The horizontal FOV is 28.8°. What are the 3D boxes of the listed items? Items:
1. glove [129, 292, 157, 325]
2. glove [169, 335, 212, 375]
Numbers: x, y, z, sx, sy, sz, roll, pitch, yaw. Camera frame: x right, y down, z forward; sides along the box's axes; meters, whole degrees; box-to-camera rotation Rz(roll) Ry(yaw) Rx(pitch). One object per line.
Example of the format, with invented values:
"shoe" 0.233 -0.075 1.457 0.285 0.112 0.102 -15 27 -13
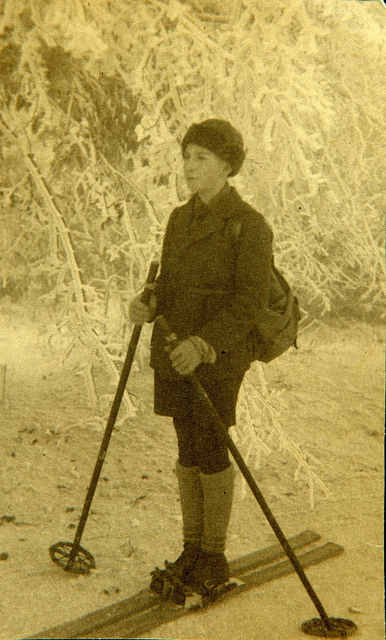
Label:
"glove" -0.187 -0.044 2.747 0.096 0.125 0.121 13 10 -1
"glove" -0.018 0.120 2.595 0.136 0.136 0.058 45 2 -8
